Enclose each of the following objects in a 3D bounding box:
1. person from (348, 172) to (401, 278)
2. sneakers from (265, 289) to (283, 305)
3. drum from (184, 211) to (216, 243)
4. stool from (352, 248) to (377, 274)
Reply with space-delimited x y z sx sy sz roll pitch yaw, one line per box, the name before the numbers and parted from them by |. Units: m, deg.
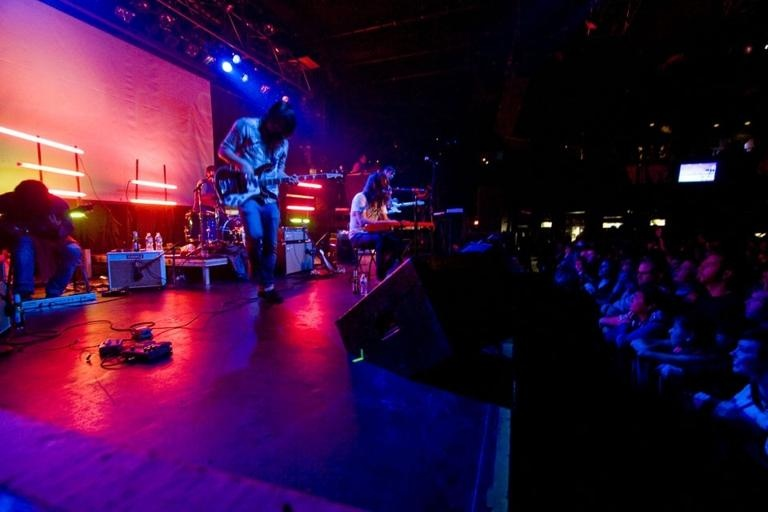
person | -0.079 -0.399 6.793 0.673 1.426 1.065 -1 3 -13
sneakers | -1.209 0.441 5.677 0.189 0.197 0.129 16 -12 -9
drum | -2.882 -0.455 8.112 0.506 0.496 0.482 5 -8 -37
stool | -0.254 0.048 7.715 0.327 0.462 0.442 -8 -9 44
